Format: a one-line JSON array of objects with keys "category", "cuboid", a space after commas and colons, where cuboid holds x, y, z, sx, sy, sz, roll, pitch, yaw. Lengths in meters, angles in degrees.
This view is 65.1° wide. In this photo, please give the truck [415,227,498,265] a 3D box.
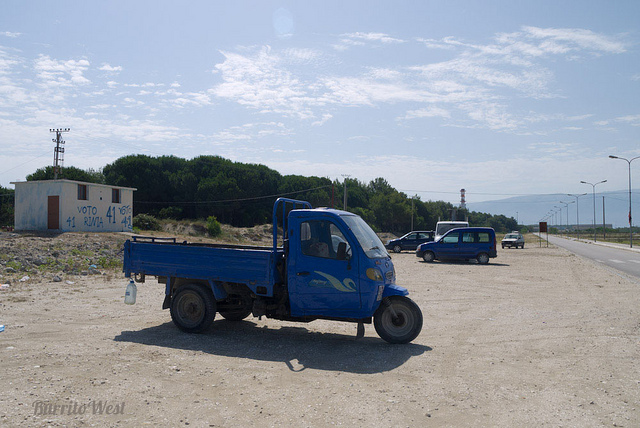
[{"category": "truck", "cuboid": [8.821, 1.998, 32.112, 4.030, 1.769, 2.343, 1, -2, 10]}]

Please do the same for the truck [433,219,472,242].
[{"category": "truck", "cuboid": [11.048, 1.344, 42.649, 2.545, 2.253, 4.061, 1, 3, 5]}]

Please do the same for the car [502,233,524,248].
[{"category": "car", "cuboid": [21.363, 2.941, 55.789, 1.478, 1.376, 3.059, -4, -7, 28]}]

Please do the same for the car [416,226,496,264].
[{"category": "car", "cuboid": [8.808, 1.980, 32.048, 3.785, 1.743, 2.237, 2, -2, 10]}]
